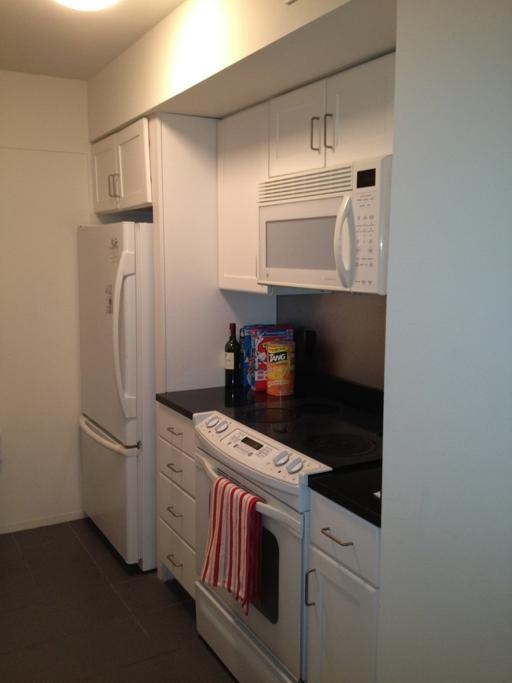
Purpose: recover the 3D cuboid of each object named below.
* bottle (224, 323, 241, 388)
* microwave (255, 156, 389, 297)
[{"bbox_3d":[-0.118,0.072,2.566,0.075,0.327,0.083,0,4,-2],"label":"bottle"},{"bbox_3d":[0.235,-0.363,1.812,0.470,0.418,0.277,3,-1,35],"label":"microwave"}]
